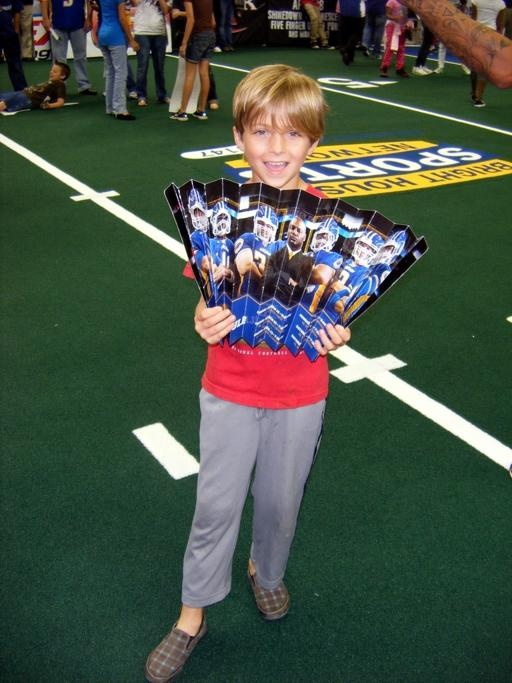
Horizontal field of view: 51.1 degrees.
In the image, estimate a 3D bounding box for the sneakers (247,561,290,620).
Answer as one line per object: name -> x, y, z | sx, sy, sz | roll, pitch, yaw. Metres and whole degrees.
sneakers -> 0.048, 0.920, 1.977 | 0.085, 0.069, 0.193 | -5, 27, -15
